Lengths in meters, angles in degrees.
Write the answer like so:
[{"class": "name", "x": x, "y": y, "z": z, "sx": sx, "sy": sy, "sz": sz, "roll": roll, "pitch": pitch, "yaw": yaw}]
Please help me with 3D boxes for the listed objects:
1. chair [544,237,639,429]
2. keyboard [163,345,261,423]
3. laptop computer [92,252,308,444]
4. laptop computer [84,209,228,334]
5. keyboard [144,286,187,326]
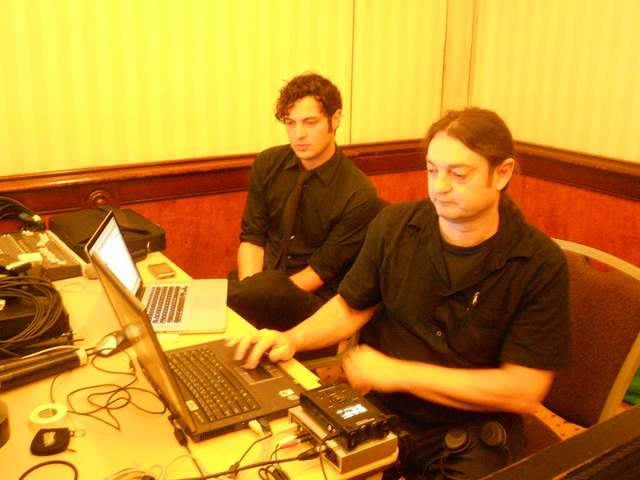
[{"class": "chair", "x": 0.892, "y": 0.313, "z": 1.598, "sx": 0.245, "sy": 0.534, "sz": 0.310, "roll": -16, "pitch": 22, "yaw": -43}, {"class": "keyboard", "x": -0.323, "y": 0.390, "z": 1.362, "sx": 0.182, "sy": 0.058, "sz": 0.457, "roll": -8, "pitch": 14, "yaw": -29}, {"class": "laptop computer", "x": -0.316, "y": 0.253, "z": 1.313, "sx": 0.421, "sy": 0.347, "sz": 0.484, "roll": -6, "pitch": 13, "yaw": -30}, {"class": "laptop computer", "x": -0.547, "y": 0.092, "z": 1.702, "sx": 0.416, "sy": 0.301, "sz": 0.486, "roll": -1, "pitch": 14, "yaw": -13}, {"class": "keyboard", "x": -0.552, "y": 0.234, "z": 1.723, "sx": 0.093, "sy": 0.030, "sz": 0.213, "roll": -3, "pitch": 22, "yaw": -6}]
